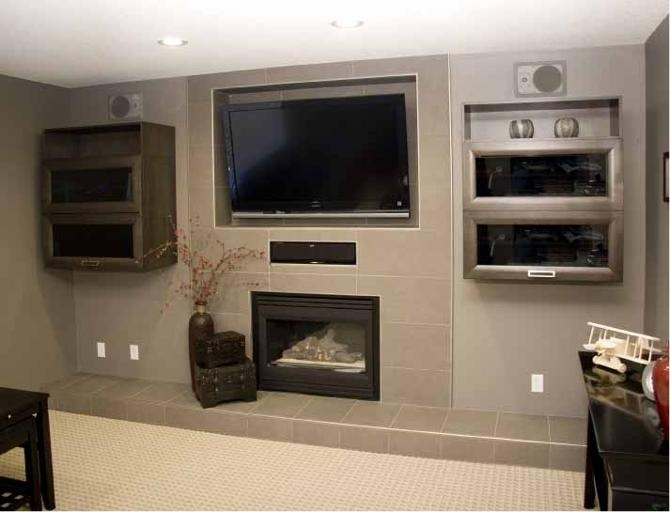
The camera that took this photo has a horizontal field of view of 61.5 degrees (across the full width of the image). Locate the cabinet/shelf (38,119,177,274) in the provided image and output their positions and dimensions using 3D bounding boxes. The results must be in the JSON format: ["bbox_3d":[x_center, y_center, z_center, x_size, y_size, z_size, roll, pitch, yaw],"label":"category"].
[{"bbox_3d":[-1.817,-0.435,4.507,1.225,1.518,0.576,0,1,16],"label":"cabinet/shelf"}]

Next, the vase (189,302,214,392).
[{"bbox_3d":[-1.062,0.737,4.475,0.213,0.731,0.466,-1,5,-14],"label":"vase"}]

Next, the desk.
[{"bbox_3d":[1.357,0.847,2.660,0.303,0.301,0.946,2,6,22],"label":"desk"}]
